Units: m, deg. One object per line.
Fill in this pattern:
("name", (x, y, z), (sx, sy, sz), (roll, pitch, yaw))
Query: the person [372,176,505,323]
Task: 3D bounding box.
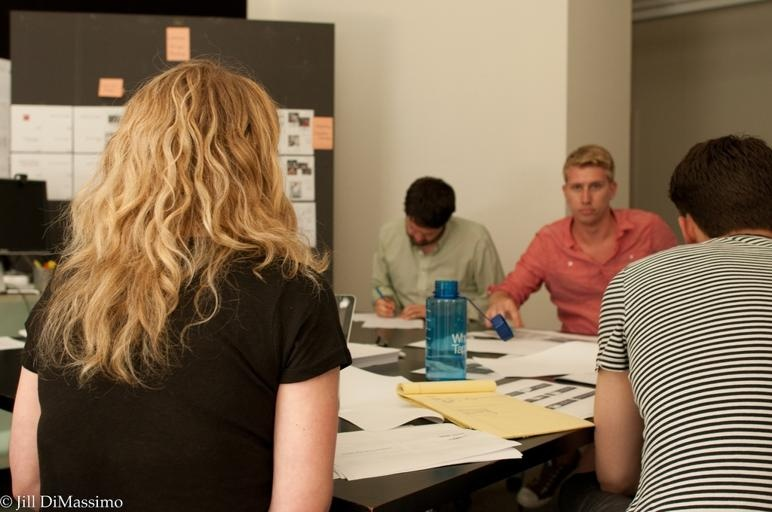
("person", (0.254, -0.043, 3.767), (0.799, 0.769, 0.468), (3, 27, 14))
